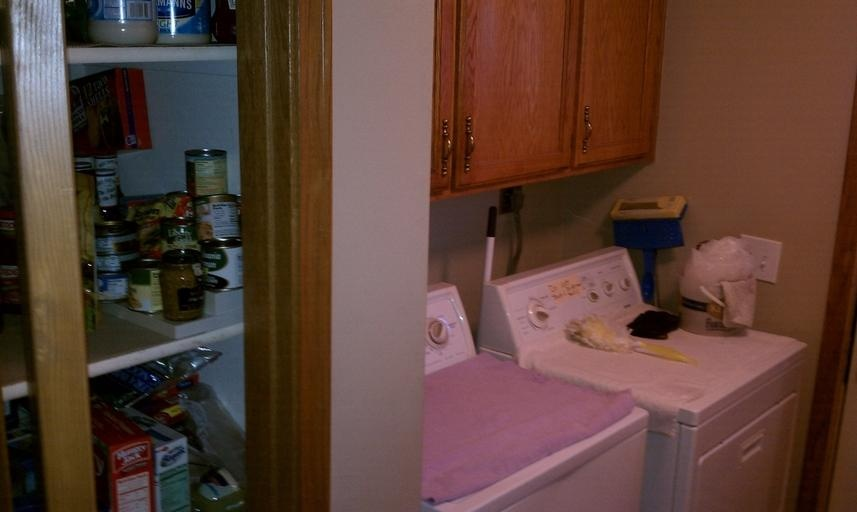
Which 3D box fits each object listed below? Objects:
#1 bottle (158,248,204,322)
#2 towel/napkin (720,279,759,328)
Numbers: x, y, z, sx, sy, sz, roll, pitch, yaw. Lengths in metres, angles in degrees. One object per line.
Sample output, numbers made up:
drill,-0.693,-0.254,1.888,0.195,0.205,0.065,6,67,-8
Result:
bottle,-0.526,0.068,1.389,0.091,0.132,0.086,1,9,0
towel/napkin,1.150,0.183,2.399,0.158,0.170,0.019,-2,8,-16
